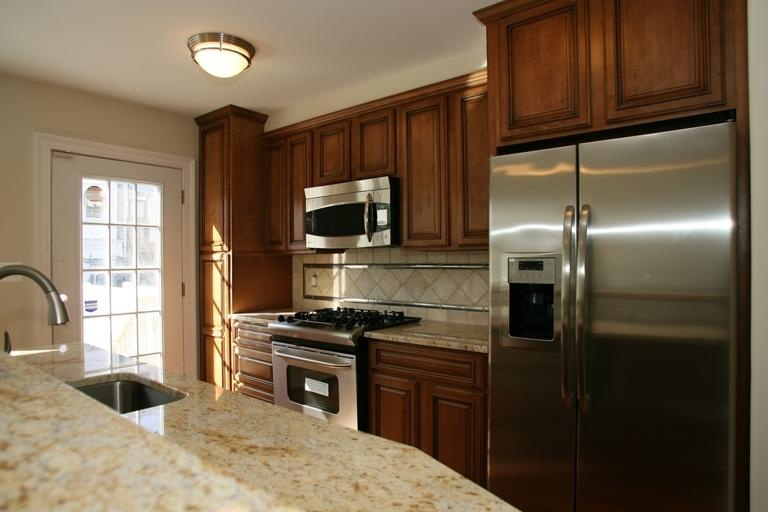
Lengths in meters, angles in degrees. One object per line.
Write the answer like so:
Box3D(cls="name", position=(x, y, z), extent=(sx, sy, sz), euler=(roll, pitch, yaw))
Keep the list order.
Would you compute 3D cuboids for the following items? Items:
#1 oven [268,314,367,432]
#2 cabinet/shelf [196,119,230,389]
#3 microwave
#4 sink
Box3D(cls="oven", position=(-0.394, 0.816, 4.052), extent=(0.789, 0.752, 0.554), euler=(3, 7, 38))
Box3D(cls="cabinet/shelf", position=(-1.464, -0.194, 4.812), extent=(0.316, 1.703, 0.160), euler=(9, 12, 28))
Box3D(cls="microwave", position=(-0.238, -0.292, 4.218), extent=(0.859, 0.492, 0.408), euler=(-1, 0, 36))
Box3D(cls="sink", position=(-1.094, 0.587, 2.334), extent=(0.364, 0.155, 0.227), euler=(0, -4, 29))
